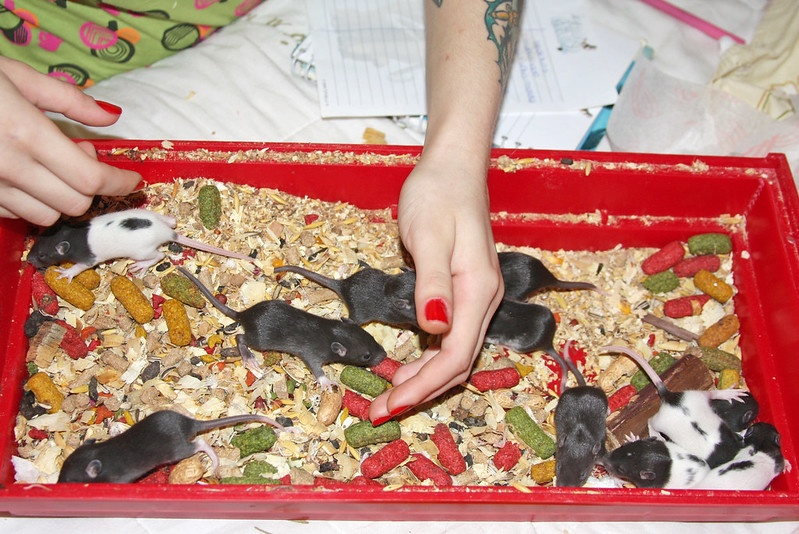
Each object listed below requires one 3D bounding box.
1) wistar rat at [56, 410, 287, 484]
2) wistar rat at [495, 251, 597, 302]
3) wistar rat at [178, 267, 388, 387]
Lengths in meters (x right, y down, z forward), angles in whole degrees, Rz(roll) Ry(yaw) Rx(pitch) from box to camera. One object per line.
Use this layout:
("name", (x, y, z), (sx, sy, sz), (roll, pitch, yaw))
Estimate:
("wistar rat", (-1.119, 0.828, 3.022), (0.876, 0.294, 0.209), (-10, -22, -2))
("wistar rat", (0.741, 0.019, 3.529), (0.610, 0.284, 0.413), (-4, 21, -9))
("wistar rat", (-0.458, 0.396, 3.231), (0.769, 0.349, 0.232), (10, -21, 6))
